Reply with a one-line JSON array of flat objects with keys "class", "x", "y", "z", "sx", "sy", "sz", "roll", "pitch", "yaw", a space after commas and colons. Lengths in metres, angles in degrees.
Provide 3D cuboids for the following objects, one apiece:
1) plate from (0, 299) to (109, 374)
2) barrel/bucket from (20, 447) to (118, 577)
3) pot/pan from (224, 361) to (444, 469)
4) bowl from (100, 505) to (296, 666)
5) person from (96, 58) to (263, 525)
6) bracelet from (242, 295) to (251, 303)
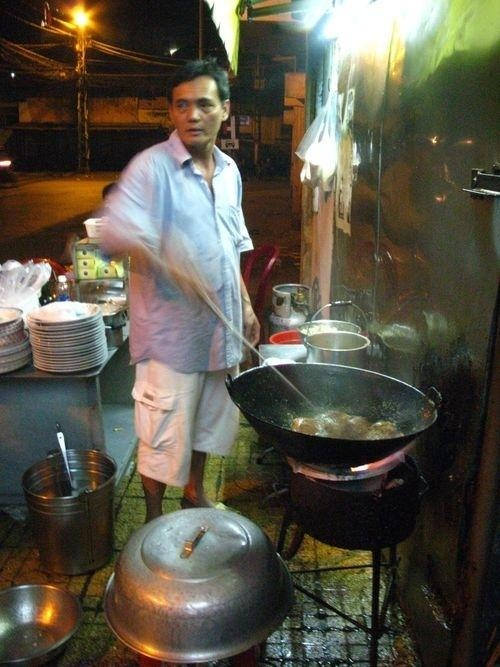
[{"class": "plate", "x": -1.139, "y": -0.003, "z": 3.333, "sx": 0.470, "sy": 0.339, "sz": 0.475, "roll": -1, "pitch": 19, "yaw": -4}, {"class": "barrel/bucket", "x": -1.017, "y": 1.023, "z": 3.109, "sx": 0.557, "sy": 0.506, "sz": 0.515, "roll": 0, "pitch": 27, "yaw": 0}, {"class": "pot/pan", "x": 0.291, "y": 0.344, "z": 2.072, "sx": 0.781, "sy": 0.320, "sz": 0.733, "roll": 4, "pitch": 12, "yaw": 24}, {"class": "bowl", "x": -0.177, "y": 0.902, "z": 2.041, "sx": 0.682, "sy": 0.258, "sz": 0.589, "roll": -7, "pitch": 12, "yaw": -29}, {"class": "person", "x": -0.392, "y": -0.135, "z": 3.041, "sx": 0.488, "sy": 2.604, "sz": 1.179, "roll": 6, "pitch": 13, "yaw": 29}, {"class": "bracelet", "x": -0.020, "y": -0.218, "z": 3.487, "sx": 0.057, "sy": 0.050, "sz": 0.042, "roll": -24, "pitch": 19, "yaw": -26}]
